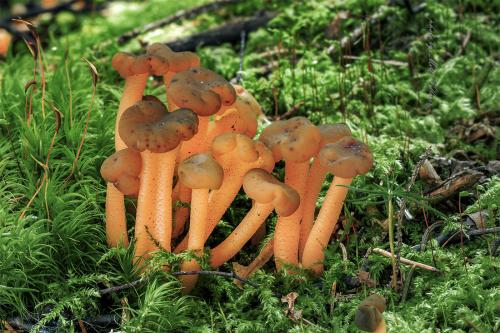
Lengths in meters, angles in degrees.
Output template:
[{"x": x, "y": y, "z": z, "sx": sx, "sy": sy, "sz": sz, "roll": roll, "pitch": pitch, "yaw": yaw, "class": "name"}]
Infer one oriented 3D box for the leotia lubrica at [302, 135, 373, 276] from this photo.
[{"x": 0.684, "y": 0.326, "z": 3.910, "sx": 0.566, "sy": 1.091, "sz": 0.380, "roll": -2, "pitch": 29, "yaw": 3, "class": "leotia lubrica"}]
